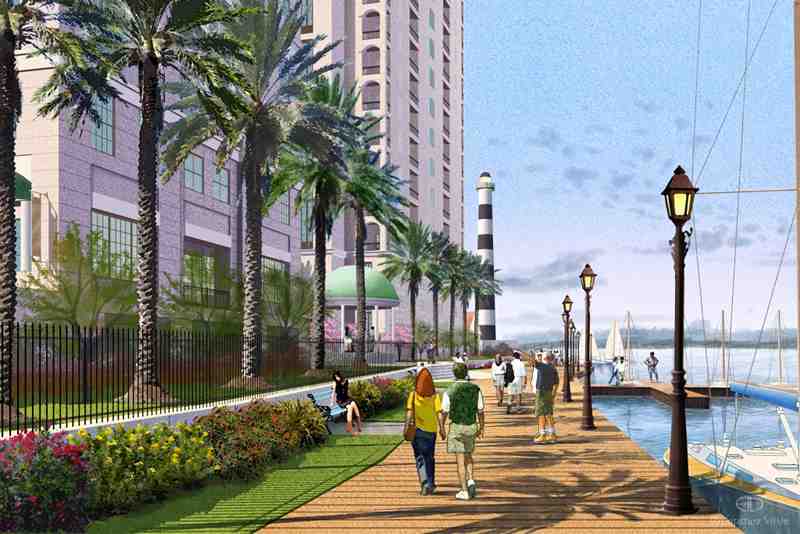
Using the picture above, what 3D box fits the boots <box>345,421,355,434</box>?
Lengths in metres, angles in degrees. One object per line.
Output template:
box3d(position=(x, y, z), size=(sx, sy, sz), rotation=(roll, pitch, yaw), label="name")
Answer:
box3d(position=(-1.771, 5.872, 30.014), size=(0.322, 0.416, 0.999), rotation=(0, -8, -4), label="boots")

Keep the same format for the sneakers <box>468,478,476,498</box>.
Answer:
box3d(position=(1.890, 5.766, 21.342), size=(0.166, 0.553, 0.215), rotation=(-1, -1, -1), label="sneakers")

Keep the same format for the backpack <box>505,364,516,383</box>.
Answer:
box3d(position=(4.845, 4.612, 35.936), size=(0.441, 0.850, 1.193), rotation=(-1, -8, 6), label="backpack")
